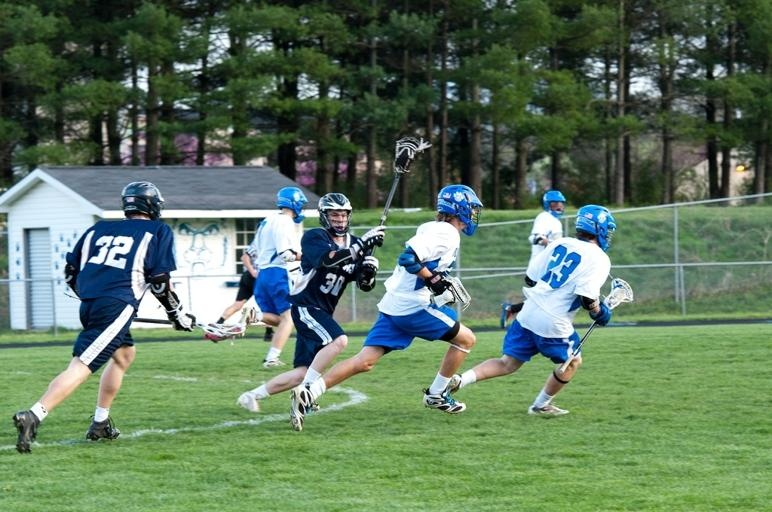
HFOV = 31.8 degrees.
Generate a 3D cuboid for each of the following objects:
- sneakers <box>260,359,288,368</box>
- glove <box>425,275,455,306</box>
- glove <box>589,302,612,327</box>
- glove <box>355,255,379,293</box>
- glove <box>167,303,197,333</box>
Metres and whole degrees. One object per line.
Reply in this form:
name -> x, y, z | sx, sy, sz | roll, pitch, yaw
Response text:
sneakers -> -2.768, 2.698, 33.554 | 0.677, 0.210, 0.190 | -1, -4, -3
glove -> 1.240, 0.785, 30.322 | 0.585, 0.712, 0.355 | -23, 19, 1
glove -> 4.851, 1.361, 30.794 | 0.481, 0.500, 0.316 | -25, 5, -12
glove -> -0.448, 0.399, 30.619 | 0.599, 0.713, 0.341 | 3, 4, -13
glove -> -4.637, 1.392, 30.229 | 0.617, 0.355, 0.760 | -8, 21, -35
